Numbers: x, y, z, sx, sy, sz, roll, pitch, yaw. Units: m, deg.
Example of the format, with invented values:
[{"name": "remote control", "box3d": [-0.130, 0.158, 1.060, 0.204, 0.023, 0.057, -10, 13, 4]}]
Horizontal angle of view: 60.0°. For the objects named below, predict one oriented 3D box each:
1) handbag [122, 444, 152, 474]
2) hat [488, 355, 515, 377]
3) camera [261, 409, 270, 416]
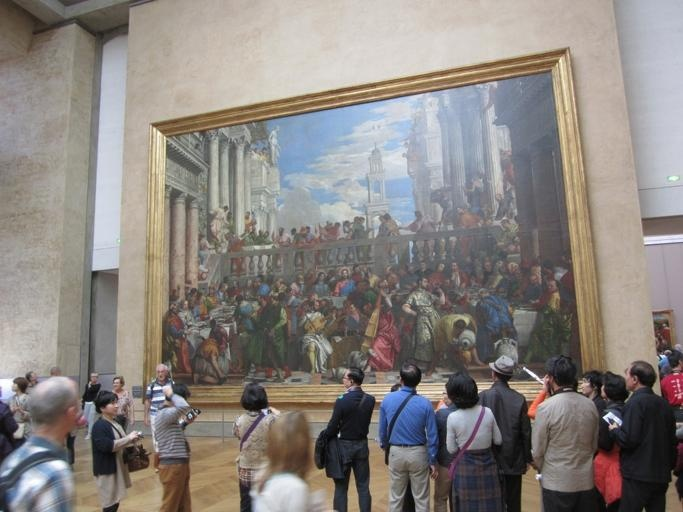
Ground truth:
[{"name": "handbag", "box3d": [-2.442, 2.381, 7.033, 0.261, 0.301, 0.243, -3, -5, -14]}, {"name": "hat", "box3d": [1.878, 1.279, 6.894, 0.253, 0.247, 0.439, -5, -5, 18]}, {"name": "camera", "box3d": [-0.860, 1.757, 6.644, 0.063, 0.037, 0.091, 5, -5, 3]}]
